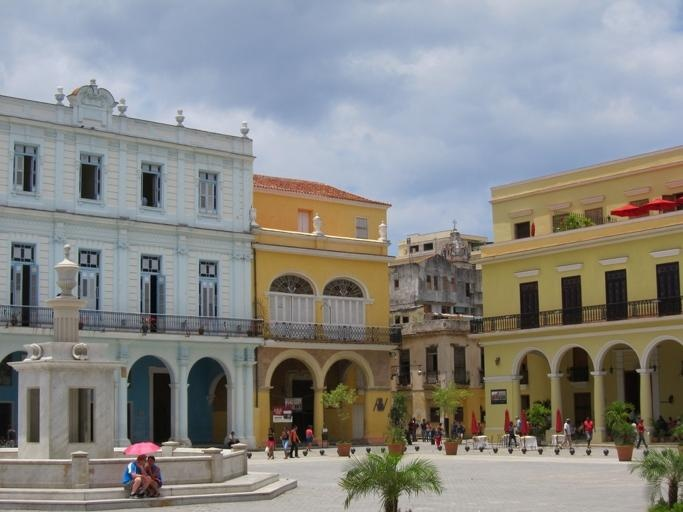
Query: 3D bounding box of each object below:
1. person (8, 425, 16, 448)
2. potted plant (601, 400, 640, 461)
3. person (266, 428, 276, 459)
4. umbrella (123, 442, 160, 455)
[{"bbox_3d":[-13.735,7.627,58.557,0.365,0.834,1.311,2,-12,-14],"label":"person"},{"bbox_3d":[11.439,7.346,57.687,1.761,3.053,1.770,0,-15,-3],"label":"potted plant"},{"bbox_3d":[-2.948,7.947,58.849,0.278,1.292,0.897,1,-12,-7],"label":"person"},{"bbox_3d":[-6.201,6.122,43.915,1.097,0.461,1.019,-10,-15,35],"label":"umbrella"}]
